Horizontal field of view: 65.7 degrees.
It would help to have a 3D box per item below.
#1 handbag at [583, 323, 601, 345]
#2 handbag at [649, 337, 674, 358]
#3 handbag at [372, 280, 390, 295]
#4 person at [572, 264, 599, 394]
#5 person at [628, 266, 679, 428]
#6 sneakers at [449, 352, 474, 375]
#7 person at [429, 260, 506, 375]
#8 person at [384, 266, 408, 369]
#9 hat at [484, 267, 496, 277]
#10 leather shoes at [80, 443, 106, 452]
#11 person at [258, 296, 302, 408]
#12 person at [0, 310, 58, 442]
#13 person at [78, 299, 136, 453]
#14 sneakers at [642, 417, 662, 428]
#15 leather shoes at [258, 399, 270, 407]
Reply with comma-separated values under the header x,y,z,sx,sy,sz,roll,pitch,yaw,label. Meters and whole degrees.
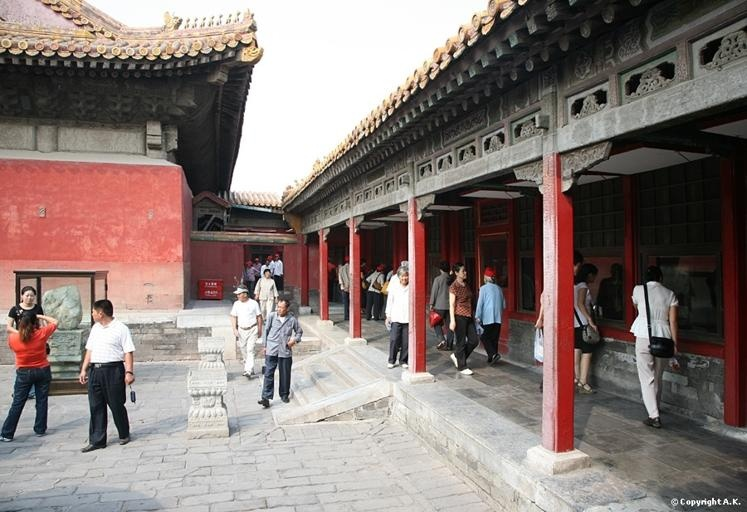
x,y,z,sx,sy,sz,roll,pitch,yaw,label
3.187,1.138,8.468,0.224,0.296,0.097,0,8,-7,handbag
3.703,1.168,7.387,0.319,0.272,0.107,1,7,0,handbag
0.171,0.789,14.367,0.364,0.366,0.283,-3,6,7,handbag
3.190,1.072,8.646,0.386,1.875,0.493,4,8,22,person
3.656,1.164,7.580,0.459,2.008,0.550,-6,10,-42,person
1.496,1.841,9.804,0.147,0.213,0.475,-13,12,-17,sneakers
1.746,1.081,9.843,0.898,1.763,0.839,1,8,3,person
0.421,1.063,10.326,0.358,1.739,0.744,0,7,-2,person
1.976,0.262,9.862,0.120,0.106,0.186,0,-8,20,hat
-3.956,2.671,8.124,0.298,0.124,0.108,8,-8,-29,leather shoes
-1.661,1.634,10.129,0.738,1.828,0.833,-1,8,-10,person
-5.150,1.737,8.585,0.815,1.834,0.539,-5,9,-37,person
-3.825,1.682,8.285,0.706,2.057,0.632,-3,8,-23,person
3.610,2.145,7.498,0.088,0.117,0.249,0,1,-12,sneakers
-1.874,2.515,9.925,0.108,0.102,0.192,-6,4,7,leather shoes
